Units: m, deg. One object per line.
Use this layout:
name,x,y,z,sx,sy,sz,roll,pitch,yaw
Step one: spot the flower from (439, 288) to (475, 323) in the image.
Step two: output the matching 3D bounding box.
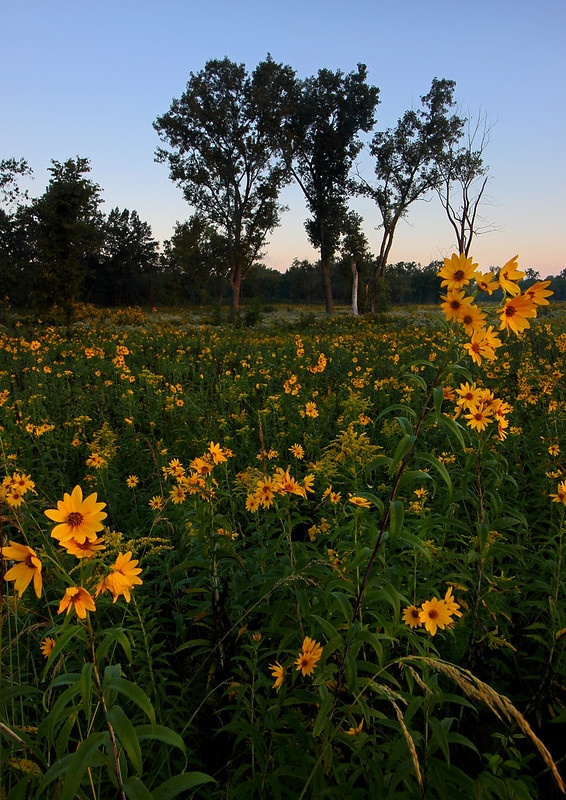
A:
flower,0.505,-0.274,1.512,0.082,0.092,0.133,2,9,17

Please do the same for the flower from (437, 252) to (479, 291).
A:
flower,0.500,-0.362,1.482,0.104,0.096,0.200,2,9,17

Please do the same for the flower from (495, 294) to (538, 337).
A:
flower,0.697,-0.224,1.557,0.131,0.152,0.056,-8,1,12

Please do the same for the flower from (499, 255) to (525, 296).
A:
flower,0.667,-0.359,1.524,0.064,0.118,0.262,3,10,23
